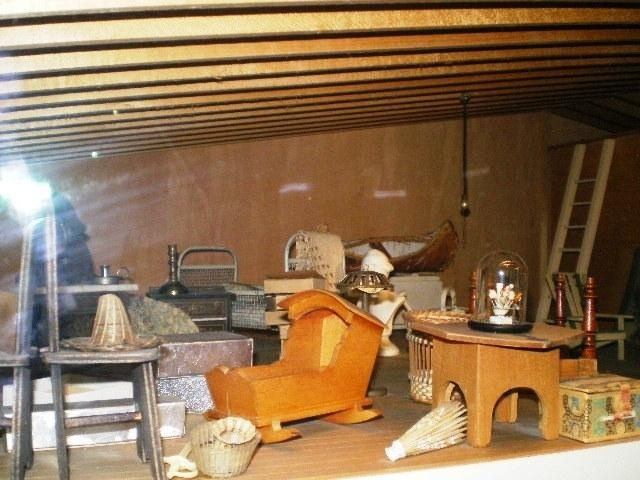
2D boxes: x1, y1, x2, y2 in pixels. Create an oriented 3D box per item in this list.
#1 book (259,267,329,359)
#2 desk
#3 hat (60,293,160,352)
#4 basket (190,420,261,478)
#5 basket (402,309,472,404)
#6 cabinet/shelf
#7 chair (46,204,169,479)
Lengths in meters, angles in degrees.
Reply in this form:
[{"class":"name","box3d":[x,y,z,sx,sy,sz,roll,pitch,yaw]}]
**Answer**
[{"class":"book","box3d":[-0.154,0.694,6.676,0.779,0.971,0.653,-3,5,-39]},{"class":"desk","box3d":[1.304,0.910,5.023,0.896,0.635,0.933,-1,2,-12]},{"class":"hat","box3d":[-1.412,0.563,4.446,0.412,0.221,0.427,2,-2,-13]},{"class":"basket","box3d":[-0.651,1.414,4.711,0.474,0.342,0.366,0,-4,-12]},{"class":"basket","box3d":[1.013,0.973,5.761,0.663,0.746,0.693,0,2,-6]},{"class":"cabinet/shelf","box3d":[-1.285,0.560,7.216,0.676,0.723,0.470,-1,0,-16]},{"class":"chair","box3d":[-1.419,0.704,4.573,0.806,1.756,0.683,0,-3,-6]}]
